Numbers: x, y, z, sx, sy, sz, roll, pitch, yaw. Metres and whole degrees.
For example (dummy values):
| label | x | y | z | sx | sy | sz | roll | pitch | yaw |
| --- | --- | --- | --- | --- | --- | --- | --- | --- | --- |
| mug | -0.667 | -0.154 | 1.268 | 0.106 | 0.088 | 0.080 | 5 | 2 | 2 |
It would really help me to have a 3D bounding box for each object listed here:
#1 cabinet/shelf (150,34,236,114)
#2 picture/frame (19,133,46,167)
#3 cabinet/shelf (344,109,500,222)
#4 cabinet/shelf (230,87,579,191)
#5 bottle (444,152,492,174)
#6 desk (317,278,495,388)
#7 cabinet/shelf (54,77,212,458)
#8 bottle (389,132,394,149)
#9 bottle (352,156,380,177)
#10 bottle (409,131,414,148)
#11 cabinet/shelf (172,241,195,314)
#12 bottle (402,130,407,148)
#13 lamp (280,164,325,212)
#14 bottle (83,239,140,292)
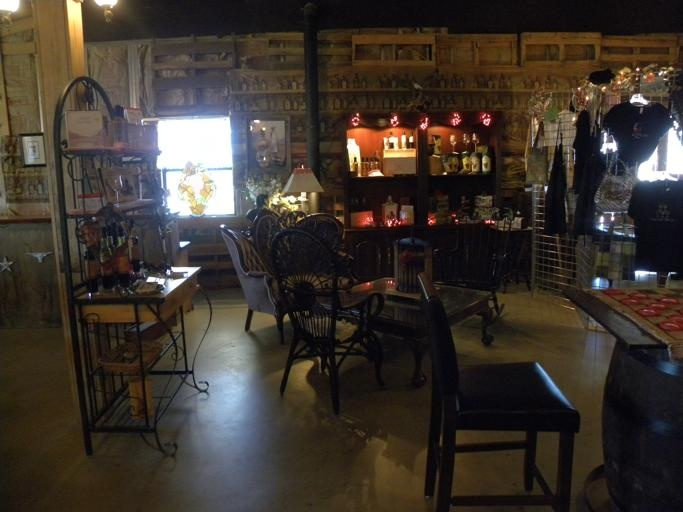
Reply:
| label | x | y | z | sx | sy | sz | roll | pitch | yaw |
| --- | --- | --- | --- | --- | --- | --- | --- | --- | --- |
| cabinet/shelf | -1.992 | -2.441 | 8.040 | 1.091 | 0.955 | 0.388 | -6 | 16 | -16 |
| picture/frame | -2.899 | -1.015 | 5.549 | 0.293 | 0.304 | 0.027 | 2 | 8 | 18 |
| cabinet/shelf | 1.077 | -1.053 | 7.843 | 1.974 | 1.744 | 0.635 | 1 | -9 | 7 |
| cabinet/shelf | 1.091 | -1.411 | 7.791 | 2.653 | 1.320 | 0.377 | 1 | -15 | 9 |
| bottle | 1.701 | -1.254 | 7.855 | 0.653 | 0.293 | 0.248 | -1 | 9 | 10 |
| desk | 0.743 | 0.619 | 5.244 | 0.916 | 0.412 | 0.913 | -18 | 16 | -32 |
| cabinet/shelf | -1.715 | -0.044 | 4.759 | 0.989 | 2.726 | 1.865 | -4 | 9 | -8 |
| bottle | 0.696 | -1.567 | 7.826 | 0.073 | 0.227 | 0.089 | -2 | 9 | 6 |
| bottle | 0.344 | -1.198 | 7.804 | 0.418 | 0.262 | 0.240 | -2 | 9 | 3 |
| bottle | 0.962 | -1.559 | 7.810 | 0.075 | 0.197 | 0.052 | -1 | 9 | 13 |
| cabinet/shelf | -1.879 | 0.267 | 6.986 | 0.191 | 0.834 | 0.456 | -4 | 7 | -2 |
| bottle | 0.854 | -1.568 | 7.809 | 0.075 | 0.233 | 0.078 | -3 | 9 | 0 |
| lamp | -0.438 | -0.870 | 6.909 | 0.521 | 0.404 | 0.541 | -13 | 24 | -32 |
| bottle | -1.614 | 0.058 | 4.306 | 0.257 | 0.346 | 0.467 | 2 | 10 | 28 |
